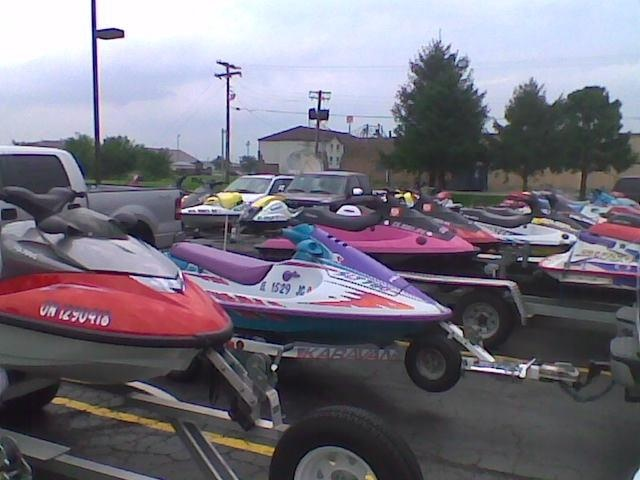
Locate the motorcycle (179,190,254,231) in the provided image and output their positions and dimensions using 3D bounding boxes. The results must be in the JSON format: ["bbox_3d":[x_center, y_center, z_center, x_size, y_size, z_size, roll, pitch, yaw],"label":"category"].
[{"bbox_3d":[-2.836,-0.906,16.002,2.279,0.708,1.058,-13,12,14],"label":"motorcycle"}]

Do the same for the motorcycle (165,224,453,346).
[{"bbox_3d":[-0.349,0.431,6.357,3.396,1.200,1.149,6,9,27],"label":"motorcycle"}]

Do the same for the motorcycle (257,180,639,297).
[{"bbox_3d":[1.222,-0.079,7.675,5.091,1.483,1.609,2,6,10],"label":"motorcycle"}]

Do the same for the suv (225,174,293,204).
[{"bbox_3d":[-2.168,-1.781,19.335,1.202,0.849,1.858,3,4,23],"label":"suv"}]

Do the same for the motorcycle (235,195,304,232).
[{"bbox_3d":[-1.111,-0.628,14.025,1.683,0.584,1.213,-1,4,-32],"label":"motorcycle"}]
